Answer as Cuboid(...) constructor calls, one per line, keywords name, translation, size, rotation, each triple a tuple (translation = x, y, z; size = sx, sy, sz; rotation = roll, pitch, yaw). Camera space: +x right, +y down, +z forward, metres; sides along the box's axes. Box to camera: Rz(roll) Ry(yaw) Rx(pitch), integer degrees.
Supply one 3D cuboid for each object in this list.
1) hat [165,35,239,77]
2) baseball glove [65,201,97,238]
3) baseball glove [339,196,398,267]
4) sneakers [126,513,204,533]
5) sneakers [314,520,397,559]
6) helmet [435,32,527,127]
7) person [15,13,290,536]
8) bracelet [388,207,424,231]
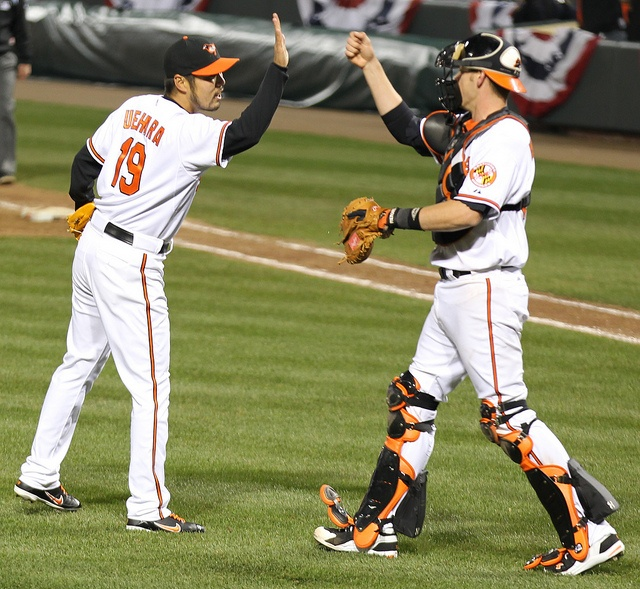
Cuboid(name="hat", translation=(-0.526, -1.064, 5.802), size=(0.288, 0.131, 0.172), rotation=(-7, 19, 5))
Cuboid(name="baseball glove", translation=(-1.155, -0.354, 6.146), size=(0.062, 0.182, 0.139), rotation=(22, 39, -44))
Cuboid(name="baseball glove", translation=(0.184, -0.296, 5.870), size=(0.146, 0.293, 0.245), rotation=(14, 4, -36))
Cuboid(name="sneakers", translation=(-0.680, 1.029, 5.754), size=(0.373, 0.094, 0.113), rotation=(2, -3, -5))
Cuboid(name="sneakers", translation=(0.169, 1.087, 5.737), size=(0.440, 0.163, 0.137), rotation=(7, -6, 4))
Cuboid(name="helmet", translation=(0.708, -0.999, 5.804), size=(0.423, 0.302, 0.296), rotation=(9, 9, 19))
Cuboid(name="person", translation=(-0.777, -0.109, 5.820), size=(1.136, 2.303, 0.803), rotation=(17, 16, 10))
Cuboid(name="bracelet", translation=(0.380, -0.333, 5.695), size=(0.167, 0.073, 0.207), rotation=(0, 7, 2))
